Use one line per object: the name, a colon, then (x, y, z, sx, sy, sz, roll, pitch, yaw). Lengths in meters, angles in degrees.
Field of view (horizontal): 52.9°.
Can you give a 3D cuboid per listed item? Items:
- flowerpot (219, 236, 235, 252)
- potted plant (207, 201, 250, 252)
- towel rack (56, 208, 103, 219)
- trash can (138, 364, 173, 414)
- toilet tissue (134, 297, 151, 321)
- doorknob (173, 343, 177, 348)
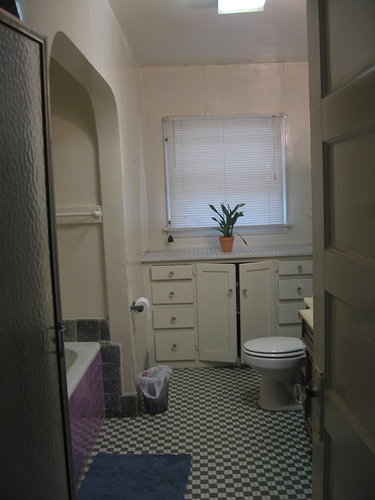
flowerpot: (0.344, -0.050, 3.307, 0.105, 0.132, 0.111, 8, 10, 44)
potted plant: (0.373, -0.218, 3.448, 0.383, 0.455, 0.341, -1, 4, 12)
towel rack: (-0.709, -0.230, 2.479, 0.294, 0.122, 0.123, 2, 3, 4)
trash can: (-0.219, 1.007, 2.678, 0.185, 0.296, 0.246, -3, 1, 5)
toilet tissue: (-0.312, 0.414, 2.703, 0.090, 0.184, 0.054, 1, 7, 7)
doorknob: (-0.108, 0.821, 3.224, 0.018, 0.031, 0.025, 2, 23, 2)
